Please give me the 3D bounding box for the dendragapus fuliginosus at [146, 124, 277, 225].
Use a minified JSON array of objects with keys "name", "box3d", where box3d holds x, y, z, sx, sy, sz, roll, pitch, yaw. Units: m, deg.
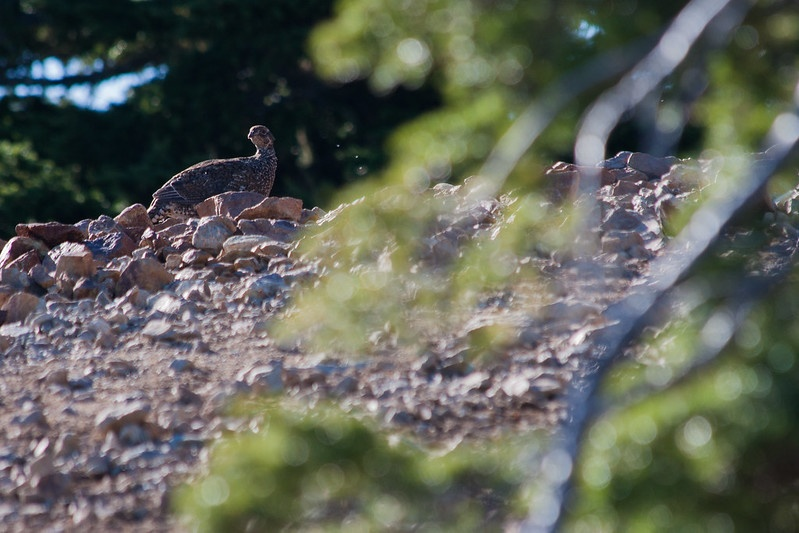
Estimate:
[{"name":"dendragapus fuliginosus","box3d":[-1.802,-0.824,16.341,1.407,0.721,0.892,-6,94,5]}]
